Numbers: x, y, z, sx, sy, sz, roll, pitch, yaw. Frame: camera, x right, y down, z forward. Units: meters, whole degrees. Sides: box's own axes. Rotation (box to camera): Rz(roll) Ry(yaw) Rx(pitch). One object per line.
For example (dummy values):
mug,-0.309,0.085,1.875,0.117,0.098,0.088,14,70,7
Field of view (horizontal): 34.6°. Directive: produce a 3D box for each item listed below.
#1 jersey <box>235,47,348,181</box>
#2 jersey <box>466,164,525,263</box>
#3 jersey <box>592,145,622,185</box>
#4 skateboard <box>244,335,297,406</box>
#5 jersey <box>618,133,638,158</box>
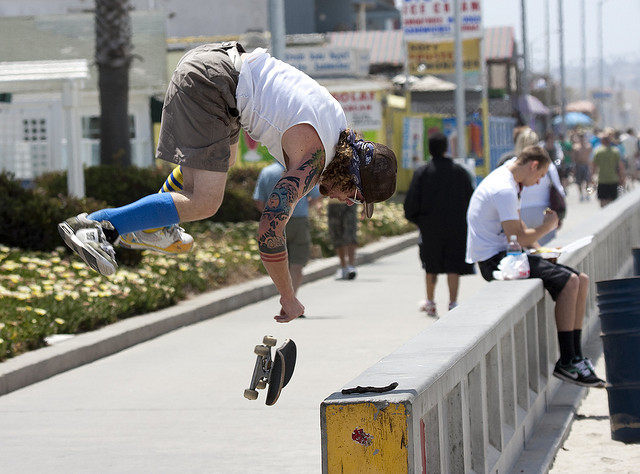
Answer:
jersey,-0.204,-0.853,7.052,0.782,0.911,0.415,0,5,8
jersey,1.719,-0.128,9.912,0.504,0.991,0.691,2,-2,25
jersey,7.123,-1.837,25.340,0.744,1.109,0.385,-1,35,19
skateboard,-0.290,0.833,6.421,0.084,0.394,0.380,11,21,-29
jersey,10.147,-2.982,33.709,0.489,0.736,1.599,1,7,21
